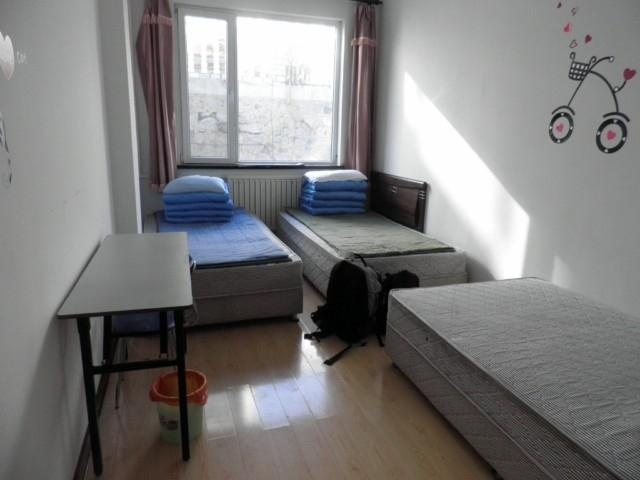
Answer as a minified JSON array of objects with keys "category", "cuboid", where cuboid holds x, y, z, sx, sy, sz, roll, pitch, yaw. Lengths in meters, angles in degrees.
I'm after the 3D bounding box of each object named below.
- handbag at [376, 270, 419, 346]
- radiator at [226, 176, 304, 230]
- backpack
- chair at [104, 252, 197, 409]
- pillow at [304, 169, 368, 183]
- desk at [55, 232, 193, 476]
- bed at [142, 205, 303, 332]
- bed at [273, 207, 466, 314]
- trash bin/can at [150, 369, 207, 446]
[{"category":"handbag","cuboid":[0.542,0.491,3.211,0.339,0.512,0.144,-2,-6,-9]},{"category":"radiator","cuboid":[-0.651,-0.455,5.054,0.712,0.599,0.040,0,-16,5]},{"category":"backpack","cuboid":[0.224,0.480,3.393,0.566,0.635,0.437,-7,-15,35]},{"category":"chair","cuboid":[-0.909,0.479,2.301,0.461,0.635,0.637,-2,18,-16]},{"category":"pillow","cuboid":[0.176,-0.738,4.976,0.635,0.123,0.404,-5,17,-19]},{"category":"desk","cuboid":[-0.984,0.584,2.168,0.318,0.516,0.965,-2,20,-17]},{"category":"bed","cuboid":[-0.930,0.145,4.019,1.139,0.490,1.813,-4,18,-17]},{"category":"bed","cuboid":[0.420,0.137,4.438,1.237,0.586,1.977,-3,12,-19]},{"category":"trash bin/can","cuboid":[-0.724,0.865,2.281,0.263,0.283,0.305,1,9,-20]}]
